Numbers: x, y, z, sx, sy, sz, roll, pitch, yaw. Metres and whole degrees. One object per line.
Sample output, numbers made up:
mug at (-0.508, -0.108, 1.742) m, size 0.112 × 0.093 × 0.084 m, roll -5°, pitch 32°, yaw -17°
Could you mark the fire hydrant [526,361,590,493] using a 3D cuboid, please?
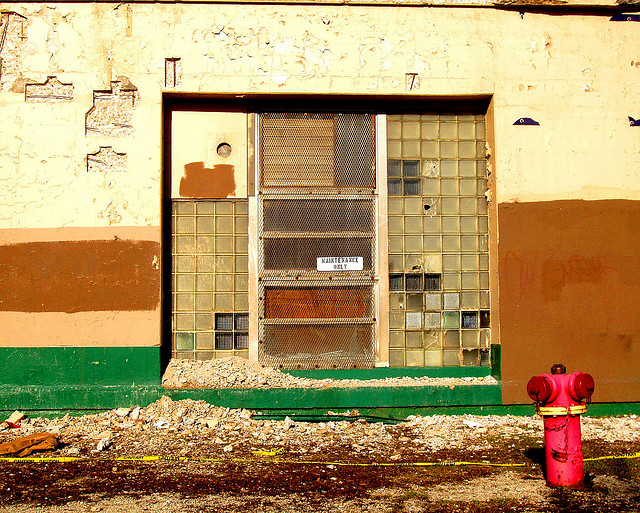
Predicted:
fire hydrant at (2.656, 1.891, 12.938) m, size 0.638 × 1.390 × 0.295 m, roll -1°, pitch -4°, yaw 11°
